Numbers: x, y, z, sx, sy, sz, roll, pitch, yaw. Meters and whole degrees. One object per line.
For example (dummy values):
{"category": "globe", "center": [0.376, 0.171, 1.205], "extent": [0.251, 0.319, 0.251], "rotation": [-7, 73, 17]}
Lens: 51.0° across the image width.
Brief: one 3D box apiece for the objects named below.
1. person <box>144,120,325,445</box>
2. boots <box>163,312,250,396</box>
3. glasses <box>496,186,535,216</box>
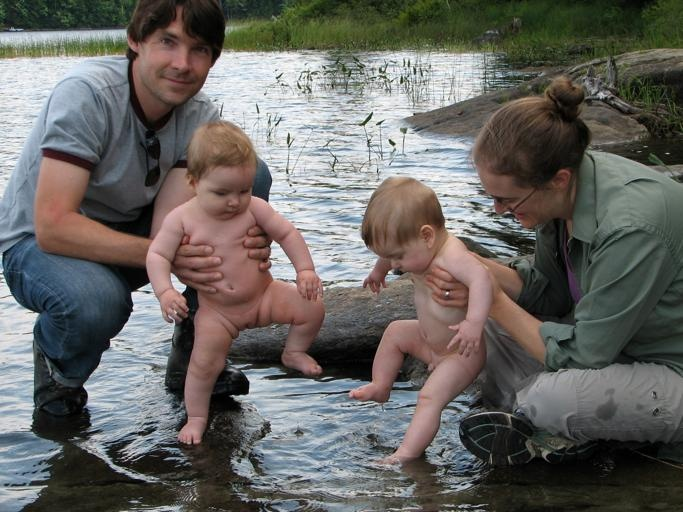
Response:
{"category": "person", "center": [-0.597, 0.082, 3.963], "extent": [0.953, 1.621, 0.673], "rotation": [-10, 18, -26]}
{"category": "boots", "center": [-0.934, 0.644, 4.416], "extent": [0.552, 0.390, 0.318], "rotation": [10, -18, -35]}
{"category": "glasses", "center": [0.884, -0.275, 3.642], "extent": [0.045, 0.119, 0.140], "rotation": [24, -3, -40]}
